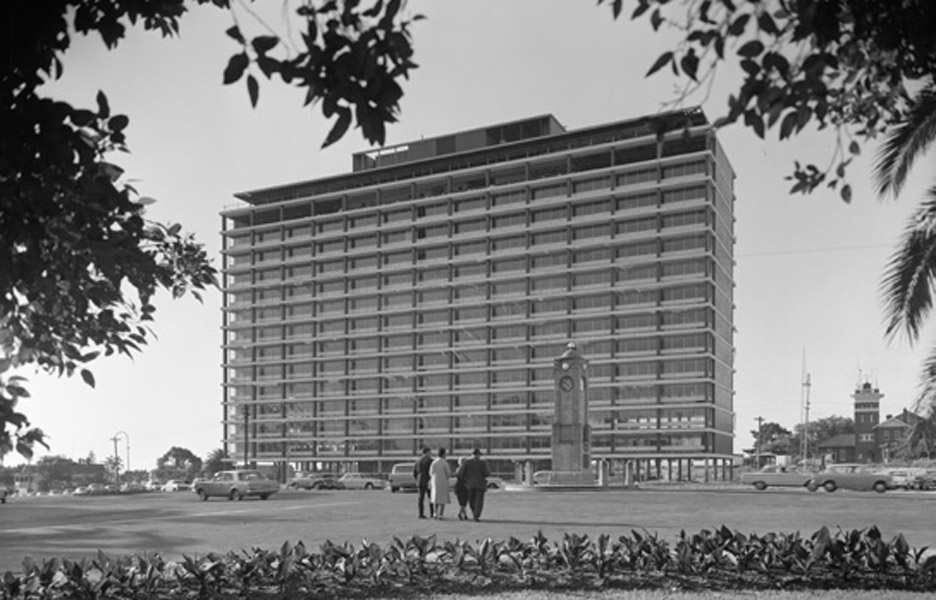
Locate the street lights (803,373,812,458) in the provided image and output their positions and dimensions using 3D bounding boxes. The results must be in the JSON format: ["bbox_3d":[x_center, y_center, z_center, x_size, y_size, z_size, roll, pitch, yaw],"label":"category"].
[{"bbox_3d":[24.123,7.280,107.270,0.629,3.771,0.566,16,-25,-21],"label":"street lights"}]
